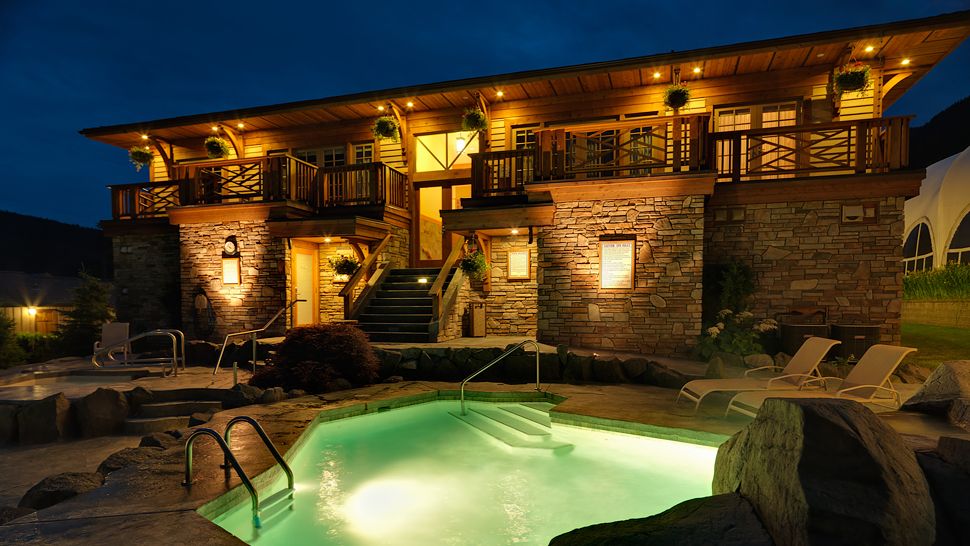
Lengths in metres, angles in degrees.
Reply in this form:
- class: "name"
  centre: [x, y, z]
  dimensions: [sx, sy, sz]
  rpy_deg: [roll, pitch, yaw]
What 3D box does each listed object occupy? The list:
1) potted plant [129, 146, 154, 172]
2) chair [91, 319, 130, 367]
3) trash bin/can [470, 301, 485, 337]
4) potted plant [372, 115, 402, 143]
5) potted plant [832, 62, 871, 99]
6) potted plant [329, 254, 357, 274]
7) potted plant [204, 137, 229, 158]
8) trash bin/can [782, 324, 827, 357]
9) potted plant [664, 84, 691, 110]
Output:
- class: "potted plant"
  centre: [-17.989, -6.086, 34.312]
  dimensions: [1.371, 0.908, 1.343]
  rpy_deg: [-1, -1, 41]
- class: "chair"
  centre: [-16.866, 3.249, 29.389]
  dimensions: [1.272, 1.950, 3.600]
  rpy_deg: [-2, 0, -29]
- class: "trash bin/can"
  centre: [-0.411, 2.312, 31.216]
  dimensions: [0.744, 1.167, 0.420]
  rpy_deg: [-1, 1, -13]
- class: "potted plant"
  centre: [-4.973, -7.270, 32.471]
  dimensions: [1.356, 0.879, 1.288]
  rpy_deg: [-1, 2, -15]
- class: "potted plant"
  centre: [16.483, -8.993, 29.385]
  dimensions: [1.513, 1.469, 1.741]
  rpy_deg: [-1, 0, 28]
- class: "potted plant"
  centre: [-6.898, -0.427, 31.754]
  dimensions: [1.079, 0.611, 1.099]
  rpy_deg: [0, 2, 21]
- class: "potted plant"
  centre: [-13.911, -6.559, 33.570]
  dimensions: [1.129, 0.668, 1.081]
  rpy_deg: [2, -3, -16]
- class: "trash bin/can"
  centre: [13.854, 2.985, 28.293]
  dimensions: [1.668, 1.214, 1.525]
  rpy_deg: [-1, -1, 7]
- class: "potted plant"
  centre: [8.735, -8.203, 29.760]
  dimensions: [1.261, 1.068, 1.169]
  rpy_deg: [-2, 4, 13]
